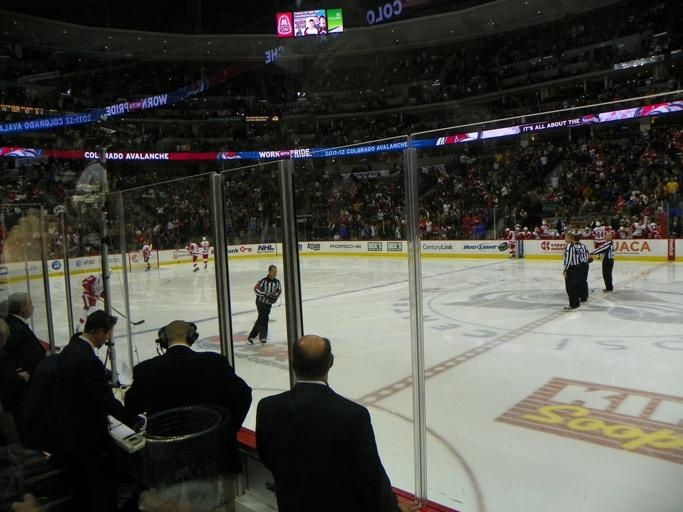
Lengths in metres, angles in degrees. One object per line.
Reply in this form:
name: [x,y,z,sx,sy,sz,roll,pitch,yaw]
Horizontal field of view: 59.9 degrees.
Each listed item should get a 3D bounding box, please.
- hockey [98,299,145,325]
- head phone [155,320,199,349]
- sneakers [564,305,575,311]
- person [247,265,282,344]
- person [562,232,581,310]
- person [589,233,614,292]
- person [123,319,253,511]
hockey: [-2.743,0.704,7.394,0.551,0.179,0.023,19,25,32]
head phone: [-1.394,0.647,4.968,0.265,0.128,0.297,2,-11,-38]
sneakers: [4.052,0.922,10.593,0.066,0.071,0.160,1,3,-5]
person: [-0.703,0.448,5.330,0.118,0.790,0.482,-9,14,-35]
person: [4.016,0.251,10.305,0.294,1.440,1.043,3,12,22]
person: [4.981,0.138,11.334,0.406,1.218,0.825,5,12,35]
person: [-1.244,1.383,4.906,0.977,1.708,0.287,-4,11,-14]
